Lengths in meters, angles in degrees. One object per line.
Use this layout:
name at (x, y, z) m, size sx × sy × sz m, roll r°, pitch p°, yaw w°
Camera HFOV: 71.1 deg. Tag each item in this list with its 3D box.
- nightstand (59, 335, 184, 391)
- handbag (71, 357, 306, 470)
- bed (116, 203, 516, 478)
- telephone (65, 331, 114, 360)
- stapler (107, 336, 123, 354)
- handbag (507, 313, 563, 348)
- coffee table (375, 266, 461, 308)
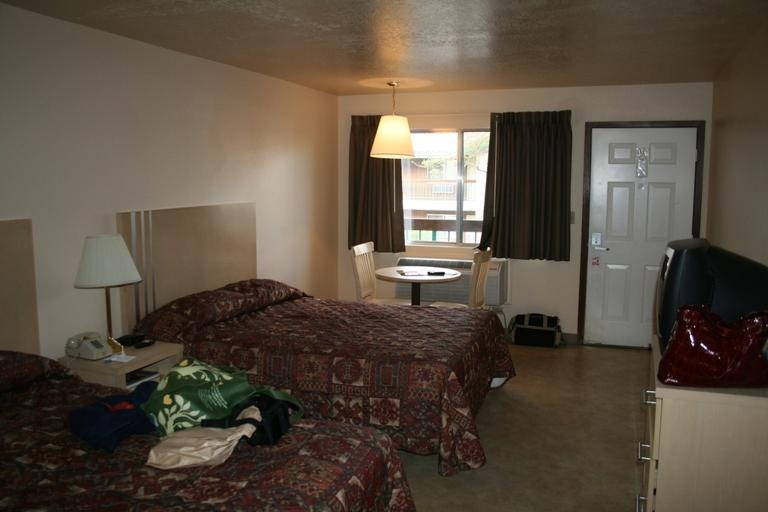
nightstand at (-1.947, 0.772, 3.929) m, size 0.381 × 0.259 × 0.506 m, roll 8°, pitch 9°, yaw 23°
handbag at (-1.072, 0.884, 2.977) m, size 0.815 × 0.266 × 0.660 m, roll -2°, pitch 7°, yaw -36°
bed at (-0.555, 0.542, 4.567) m, size 2.931 × 1.432 × 1.960 m, roll 5°, pitch 9°, yaw 23°
telephone at (-2.106, 0.639, 3.887) m, size 0.272 × 0.165 × 0.183 m, roll 6°, pitch 3°, yaw 17°
stapler at (-1.968, 0.652, 3.952) m, size 0.190 × 0.126 × 0.064 m, roll 1°, pitch 4°, yaw 29°
handbag at (1.818, 0.835, 6.463) m, size 0.726 × 0.441 × 0.355 m, roll 7°, pitch 38°, yaw 21°
coffee table at (0.385, 0.225, 5.953) m, size 0.584 × 0.382 × 0.578 m, roll 3°, pitch 12°, yaw 10°
